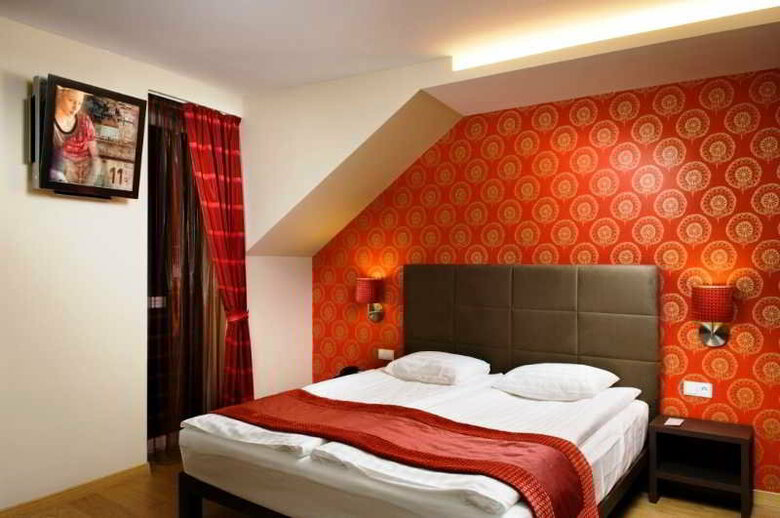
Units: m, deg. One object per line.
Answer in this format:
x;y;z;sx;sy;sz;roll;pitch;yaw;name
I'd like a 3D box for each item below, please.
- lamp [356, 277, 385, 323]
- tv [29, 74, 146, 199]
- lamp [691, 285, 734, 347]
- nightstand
-0.214;0.456;5.853;0.292;0.499;0.313;0;0;10;lamp
-2.474;-0.989;4.303;0.309;1.104;1.060;-2;-3;32;tv
2.671;0.491;4.420;0.309;0.522;0.218;0;-1;31;lamp
2.527;1.703;4.316;0.709;0.733;0.398;0;0;32;nightstand
